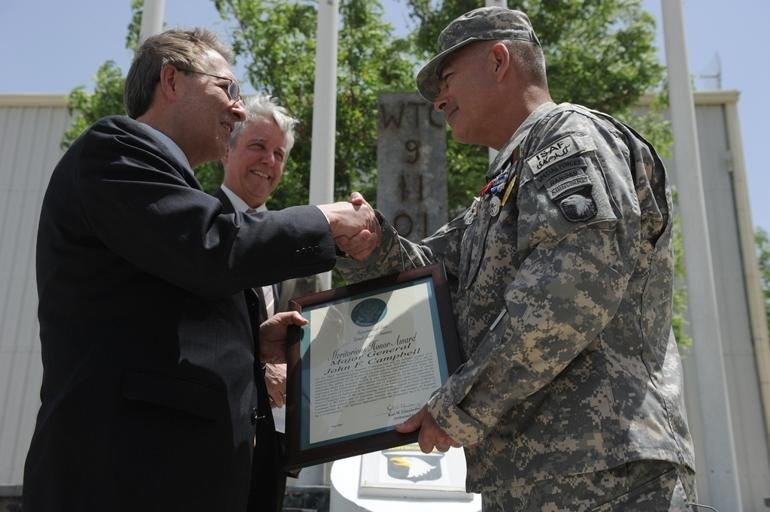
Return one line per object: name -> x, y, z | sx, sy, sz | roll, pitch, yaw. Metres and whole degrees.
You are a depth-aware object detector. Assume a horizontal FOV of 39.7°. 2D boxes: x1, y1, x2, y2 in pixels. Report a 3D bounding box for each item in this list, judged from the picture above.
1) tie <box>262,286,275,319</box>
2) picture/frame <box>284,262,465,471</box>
tie -> -1.171, 0.458, 10.572 | 0.064, 0.285, 0.252 | -1, 9, 30
picture/frame -> -0.104, 0.899, 9.101 | 1.536, 1.692, 0.126 | -14, -27, 12
